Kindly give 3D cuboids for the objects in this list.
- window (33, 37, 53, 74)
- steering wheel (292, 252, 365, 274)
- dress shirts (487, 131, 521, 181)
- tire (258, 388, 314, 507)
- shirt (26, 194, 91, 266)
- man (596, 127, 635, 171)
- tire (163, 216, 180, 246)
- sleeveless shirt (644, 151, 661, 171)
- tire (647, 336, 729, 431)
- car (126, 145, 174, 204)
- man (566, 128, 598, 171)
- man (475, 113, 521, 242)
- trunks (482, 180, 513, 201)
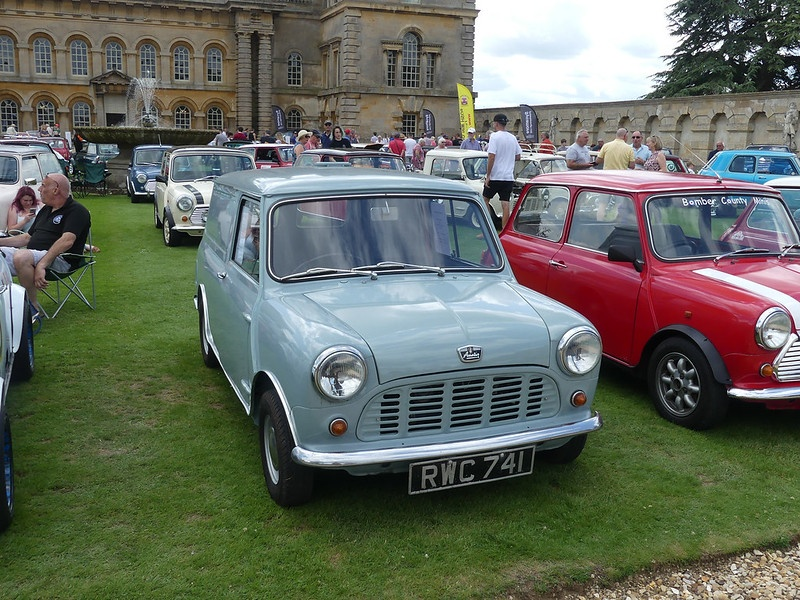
[{"bbox_3d":[-28.555,-19.618,48.448,1.300,2.754,0.371,-6,14,-21],"label":"window"},{"bbox_3d":[-0.569,-0.290,4.665,0.458,0.150,0.166,-2,55,-12],"label":"steering wheel"},{"bbox_3d":[2.187,-3.039,12.832,0.836,1.043,0.348,-8,3,-36],"label":"dress shirts"},{"bbox_3d":[-0.797,1.045,4.293,0.232,0.878,0.608,-8,15,-29],"label":"tire"},{"bbox_3d":[-4.587,-0.920,8.116,0.922,0.873,0.519,13,4,30],"label":"shirt"},{"bbox_3d":[4.578,-3.023,12.934,0.691,1.282,0.608,9,5,18],"label":"man"},{"bbox_3d":[-5.102,-1.547,13.693,0.277,0.682,0.499,-12,17,-39],"label":"tire"},{"bbox_3d":[5.637,-3.126,13.410,0.425,0.440,1.229,5,15,21],"label":"sleeveless shirt"},{"bbox_3d":[2.648,0.761,5.538,0.223,0.817,0.666,-6,-8,-29],"label":"tire"},{"bbox_3d":[-8.915,-4.657,21.873,1.862,1.754,3.480,-4,14,-26],"label":"car"},{"bbox_3d":[4.311,-3.587,14.537,0.481,1.015,0.982,5,10,38],"label":"man"},{"bbox_3d":[2.140,-2.719,13.067,0.769,2.566,0.854,0,15,-9],"label":"man"},{"bbox_3d":[2.083,-2.484,12.954,0.657,0.704,0.398,4,14,6],"label":"trunks"}]
